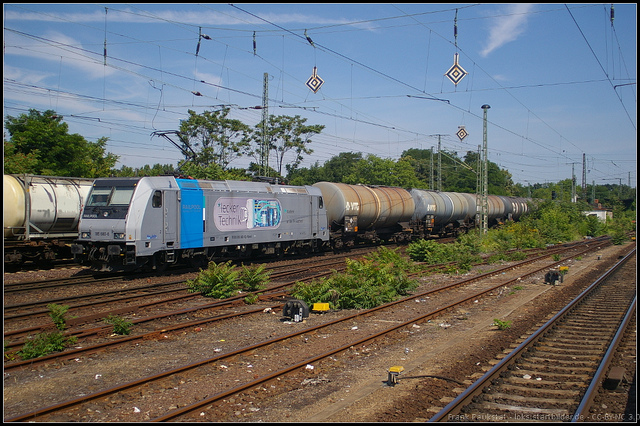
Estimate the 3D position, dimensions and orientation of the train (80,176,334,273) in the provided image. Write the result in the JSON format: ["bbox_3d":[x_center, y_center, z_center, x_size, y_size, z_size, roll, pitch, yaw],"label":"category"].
[{"bbox_3d":[-5.272,0.492,26.093,3.716,4.174,16.881,-1,0,31],"label":"train"}]

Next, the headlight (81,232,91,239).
[{"bbox_3d":[-10.584,1.030,19.735,0.459,0.270,0.100,-4,-5,20],"label":"headlight"}]
